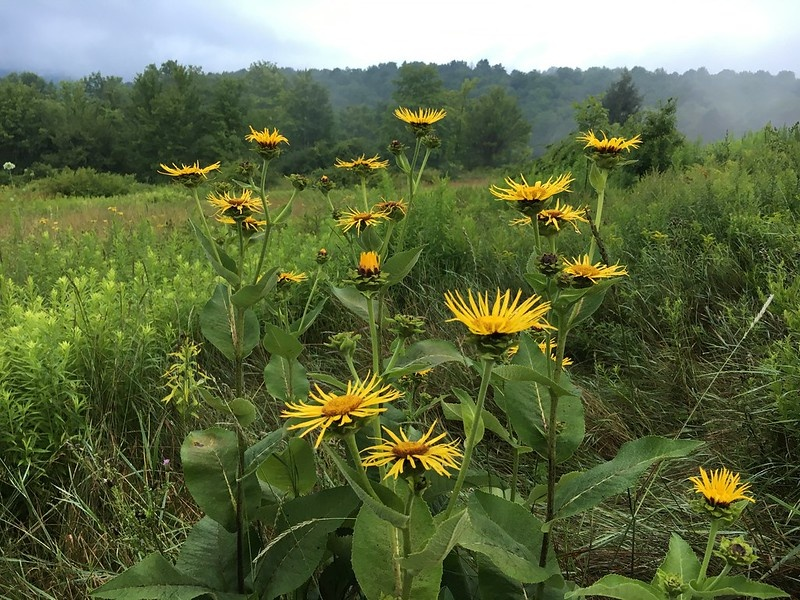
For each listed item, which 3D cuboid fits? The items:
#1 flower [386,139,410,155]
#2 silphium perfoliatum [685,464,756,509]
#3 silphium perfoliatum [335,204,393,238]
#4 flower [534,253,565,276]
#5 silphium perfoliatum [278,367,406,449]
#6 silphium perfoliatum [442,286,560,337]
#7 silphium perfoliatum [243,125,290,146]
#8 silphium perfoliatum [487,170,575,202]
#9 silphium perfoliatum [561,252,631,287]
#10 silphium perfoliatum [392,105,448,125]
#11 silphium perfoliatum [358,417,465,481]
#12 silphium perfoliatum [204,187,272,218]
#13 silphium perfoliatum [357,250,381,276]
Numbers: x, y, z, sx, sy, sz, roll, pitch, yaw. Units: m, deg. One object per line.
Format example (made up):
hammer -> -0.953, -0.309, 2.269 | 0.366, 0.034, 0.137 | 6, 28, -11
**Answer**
flower -> -0.011, -1.012, 4.396 | 0.139, 0.110, 0.148 | 2, -1, 33
silphium perfoliatum -> 1.461, 0.882, 3.040 | 0.255, 0.144, 0.321 | -1, 0, -14
silphium perfoliatum -> -0.207, -0.538, 4.046 | 0.253, 0.097, 0.257 | 11, 32, 40
flower -> 0.712, -0.172, 3.127 | 0.123, 0.105, 0.136 | 4, 19, 12
silphium perfoliatum -> -0.216, 0.440, 2.833 | 0.465, 0.153, 0.461 | -24, 4, -30
silphium perfoliatum -> 0.376, 0.048, 2.910 | 0.389, 0.163, 0.381 | -9, 9, -37
silphium perfoliatum -> -0.755, -0.952, 3.885 | 0.274, 0.121, 0.293 | 7, 19, 5
silphium perfoliatum -> 0.677, -0.581, 3.420 | 0.385, 0.130, 0.528 | 4, 19, 11
silphium perfoliatum -> 0.912, -0.137, 3.124 | 0.225, 0.090, 0.240 | -7, 9, 28
silphium perfoliatum -> 0.124, -1.234, 4.387 | 0.325, 0.125, 0.591 | 1, 19, 2
silphium perfoliatum -> 0.055, 0.659, 2.825 | 0.397, 0.133, 0.428 | 4, 14, -8
silphium perfoliatum -> -0.911, -0.534, 3.671 | 0.238, 0.118, 0.245 | -16, 42, -22
silphium perfoliatum -> -0.141, -0.182, 3.068 | 0.105, 0.107, 0.128 | 4, 19, 11
